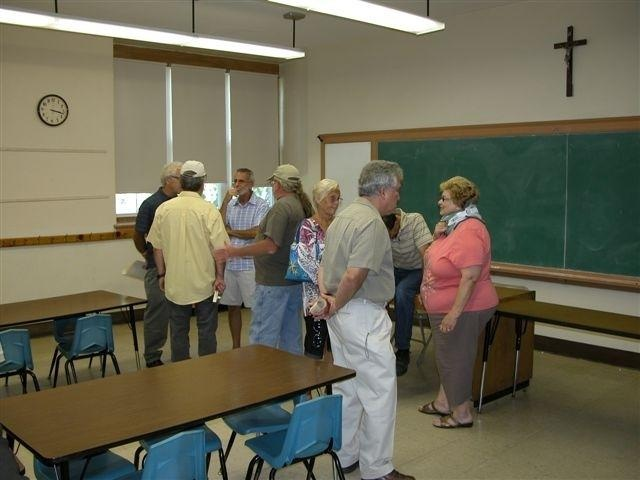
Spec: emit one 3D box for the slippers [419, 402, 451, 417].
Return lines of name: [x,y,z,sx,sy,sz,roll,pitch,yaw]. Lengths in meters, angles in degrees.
slippers: [0.994,1.438,4.572,0.233,0.083,0.102,4,5,31]

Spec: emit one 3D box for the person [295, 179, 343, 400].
person: [0.060,0.423,4.221,0.467,1.786,0.460,6,21,21]

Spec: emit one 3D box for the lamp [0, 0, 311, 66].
lamp: [-1.571,-1.987,5.176,2.698,0.093,0.343,-7,11,-37]

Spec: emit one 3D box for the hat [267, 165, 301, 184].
hat: [-0.319,-0.567,4.631,0.257,0.152,0.197,3,6,36]

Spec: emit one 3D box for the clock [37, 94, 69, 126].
clock: [-3.335,-1.616,6.560,0.042,0.328,0.320,9,-16,46]

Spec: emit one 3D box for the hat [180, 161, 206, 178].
hat: [-1.098,-0.656,4.632,0.178,0.141,0.265,1,14,2]

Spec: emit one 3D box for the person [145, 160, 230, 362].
person: [-1.131,0.203,4.588,0.681,1.735,0.334,-2,9,-12]

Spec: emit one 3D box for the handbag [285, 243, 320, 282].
handbag: [-0.118,0.169,3.893,0.246,0.320,0.130,8,11,1]

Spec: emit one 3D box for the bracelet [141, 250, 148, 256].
bracelet: [-1.730,0.132,5.212,0.045,0.045,0.041,12,13,42]

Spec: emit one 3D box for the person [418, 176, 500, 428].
person: [1.093,0.433,4.226,0.597,1.822,0.453,4,9,24]

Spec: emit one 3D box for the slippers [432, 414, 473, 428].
slippers: [1.098,1.511,4.382,0.260,0.076,0.131,2,0,4]
